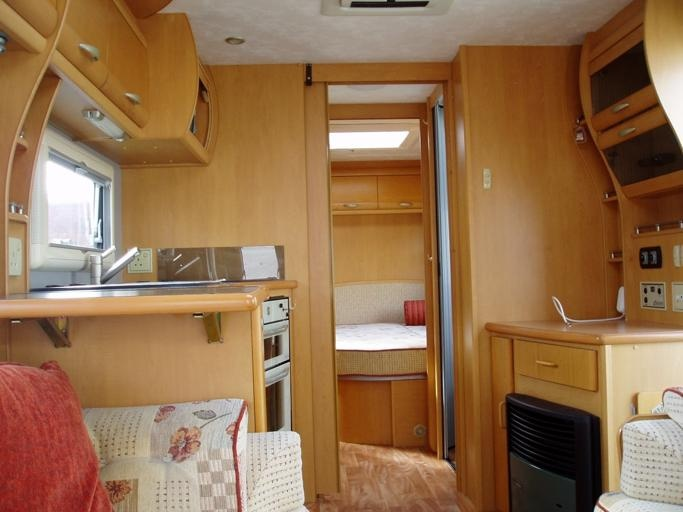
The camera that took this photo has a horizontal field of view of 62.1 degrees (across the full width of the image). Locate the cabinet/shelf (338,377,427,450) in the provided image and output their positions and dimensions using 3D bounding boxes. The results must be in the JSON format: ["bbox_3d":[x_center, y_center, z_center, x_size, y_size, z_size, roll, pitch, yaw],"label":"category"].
[{"bbox_3d":[0.306,1.128,4.147,0.726,0.576,0.432,0,-4,3],"label":"cabinet/shelf"}]

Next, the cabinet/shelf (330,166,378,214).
[{"bbox_3d":[0.126,-0.646,5.706,0.633,0.480,0.380,0,-2,-3],"label":"cabinet/shelf"}]

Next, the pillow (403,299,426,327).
[{"bbox_3d":[0.700,0.552,5.558,0.240,0.262,0.249,1,-9,6],"label":"pillow"}]

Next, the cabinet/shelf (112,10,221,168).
[{"bbox_3d":[-0.907,-0.808,3.178,0.499,0.751,0.924,0,6,-6],"label":"cabinet/shelf"}]

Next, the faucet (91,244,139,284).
[{"bbox_3d":[-1.123,0.039,2.767,0.170,0.192,0.331,3,-7,-34],"label":"faucet"}]

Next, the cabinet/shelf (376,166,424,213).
[{"bbox_3d":[0.589,-0.646,5.728,0.615,0.491,0.346,-1,-3,2],"label":"cabinet/shelf"}]

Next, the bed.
[{"bbox_3d":[0.279,0.577,5.005,0.864,0.794,1.881,-2,-6,6],"label":"bed"}]
